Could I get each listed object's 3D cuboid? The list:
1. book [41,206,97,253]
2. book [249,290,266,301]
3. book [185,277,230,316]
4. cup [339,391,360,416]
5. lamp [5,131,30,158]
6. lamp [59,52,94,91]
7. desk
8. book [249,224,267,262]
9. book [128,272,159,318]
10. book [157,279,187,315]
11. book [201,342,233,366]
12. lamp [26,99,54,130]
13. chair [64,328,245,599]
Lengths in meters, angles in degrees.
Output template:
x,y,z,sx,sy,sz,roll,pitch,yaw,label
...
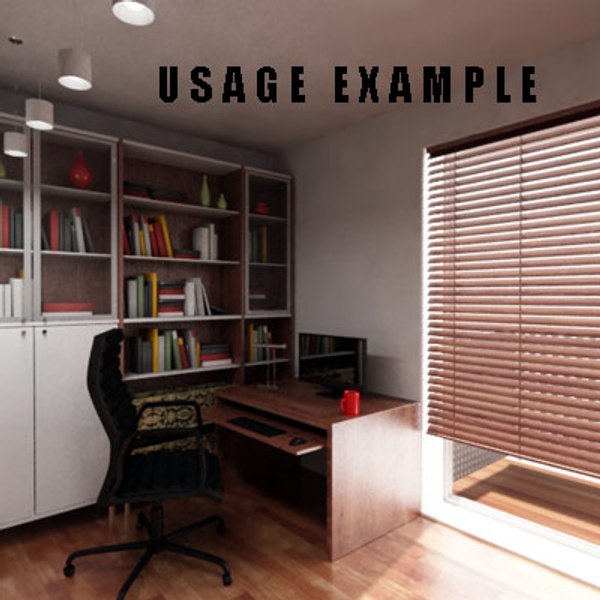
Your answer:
x,y,z,sx,sy,sz,roll,pitch,yaw,label
-1.370,-0.383,3.377,0.214,0.315,0.291,-1,0,-43,book
-0.328,-0.033,4.341,0.153,0.081,0.009,-6,8,-40,book
-0.723,0.001,4.175,0.230,0.343,0.330,-2,1,-23,book
0.282,0.578,3.236,0.105,0.125,0.191,-2,7,-12,cup
-1.596,-0.873,3.191,0.127,0.146,0.122,-3,7,-23,lamp
-0.958,-0.980,2.407,0.112,0.159,0.131,4,8,37,lamp
0.165,0.874,3.412,0.745,0.675,1.114,0,0,-36,desk
-0.348,-0.409,4.404,0.195,0.308,0.290,0,-1,-9,book
-1.113,-0.019,3.948,0.210,0.405,0.392,0,1,-25,book
-0.890,-0.018,3.973,0.174,0.256,0.237,0,0,-17,book
-0.625,0.397,4.239,0.158,0.113,0.161,0,-1,-32,book
-1.285,-0.923,2.811,0.111,0.154,0.145,-3,7,-18,lamp
-0.828,0.768,3.413,1.006,1.656,1.229,0,0,-7,chair
